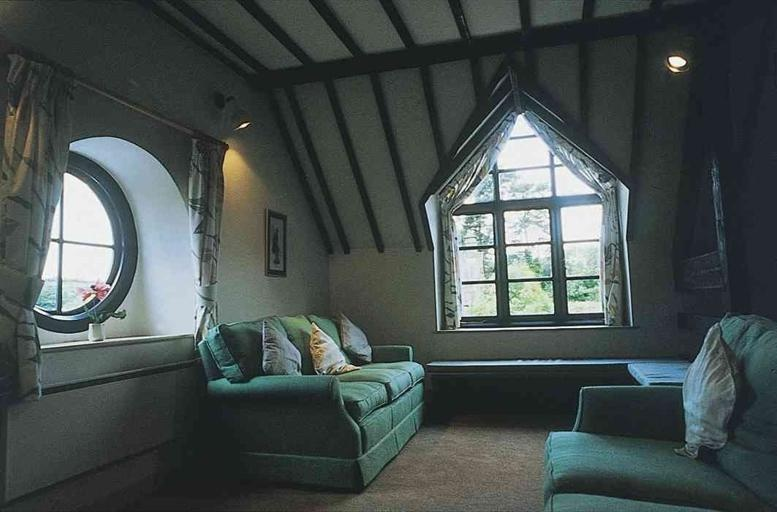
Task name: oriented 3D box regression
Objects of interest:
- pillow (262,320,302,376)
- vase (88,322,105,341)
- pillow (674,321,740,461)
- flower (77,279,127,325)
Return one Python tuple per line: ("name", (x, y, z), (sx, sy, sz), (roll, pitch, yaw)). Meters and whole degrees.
("pillow", (-0.688, 0.609, 3.574), (0.108, 0.326, 0.354), (-20, -4, 9))
("vase", (-1.634, 0.436, 3.204), (0.099, 0.125, 0.095), (-1, -6, -12))
("pillow", (1.438, 0.619, 2.544), (0.184, 0.585, 0.219), (-14, 23, -43))
("flower", (-1.674, 0.265, 3.353), (0.235, 0.231, 0.239), (7, 5, 6))
